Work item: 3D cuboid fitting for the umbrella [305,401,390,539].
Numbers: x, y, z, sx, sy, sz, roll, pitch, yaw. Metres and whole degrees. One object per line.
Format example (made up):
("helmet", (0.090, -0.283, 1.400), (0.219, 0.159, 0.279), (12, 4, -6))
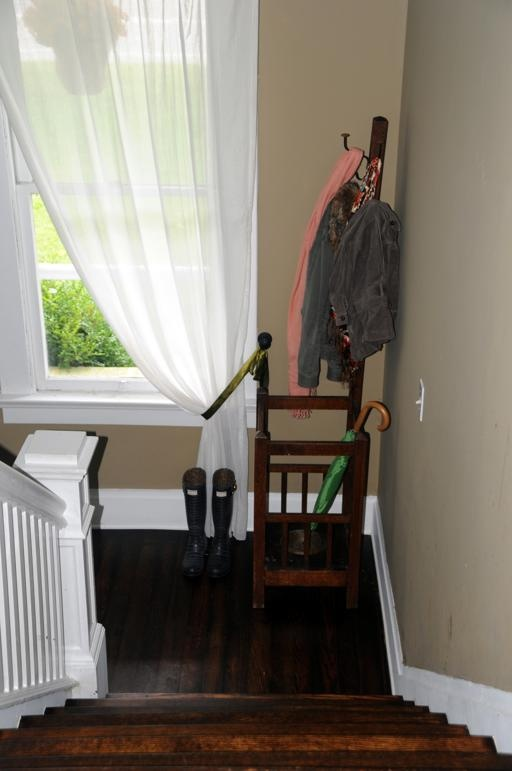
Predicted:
("umbrella", (0.326, 0.360, 2.354), (0.070, 0.815, 0.165), (8, 21, -17))

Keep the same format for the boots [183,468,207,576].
("boots", (-0.268, 0.592, 2.704), (0.115, 0.451, 0.347), (-3, 28, -4))

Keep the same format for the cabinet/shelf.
("cabinet/shelf", (0.200, 0.327, 2.586), (0.500, 0.835, 0.524), (-6, 3, 39))
